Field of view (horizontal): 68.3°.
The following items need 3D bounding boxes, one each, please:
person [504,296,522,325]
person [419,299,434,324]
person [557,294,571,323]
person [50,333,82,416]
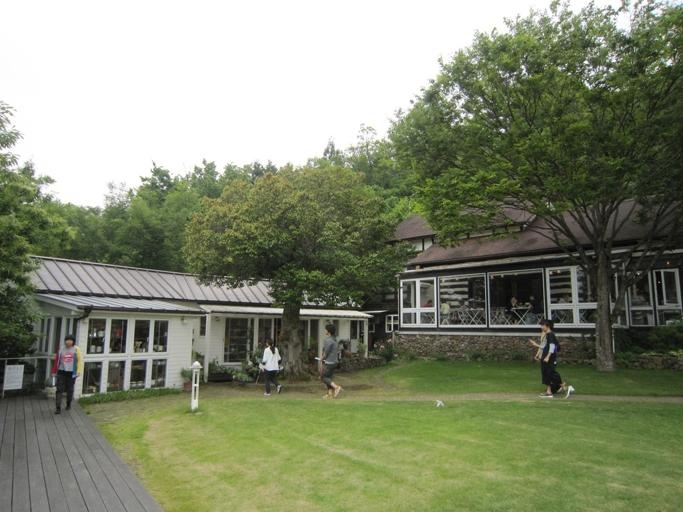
[{"bbox_3d":[8.621,2.797,25.166,0.415,1.273,0.792,5,-12,-32],"label":"person"},{"bbox_3d":[4.800,3.221,28.517,0.630,1.086,1.129,20,-25,-34],"label":"person"},{"bbox_3d":[10.345,2.556,23.373,0.265,0.972,1.079,12,-9,-17],"label":"person"},{"bbox_3d":[-7.671,3.285,14.101,0.648,2.093,1.272,4,-12,-28],"label":"person"}]
